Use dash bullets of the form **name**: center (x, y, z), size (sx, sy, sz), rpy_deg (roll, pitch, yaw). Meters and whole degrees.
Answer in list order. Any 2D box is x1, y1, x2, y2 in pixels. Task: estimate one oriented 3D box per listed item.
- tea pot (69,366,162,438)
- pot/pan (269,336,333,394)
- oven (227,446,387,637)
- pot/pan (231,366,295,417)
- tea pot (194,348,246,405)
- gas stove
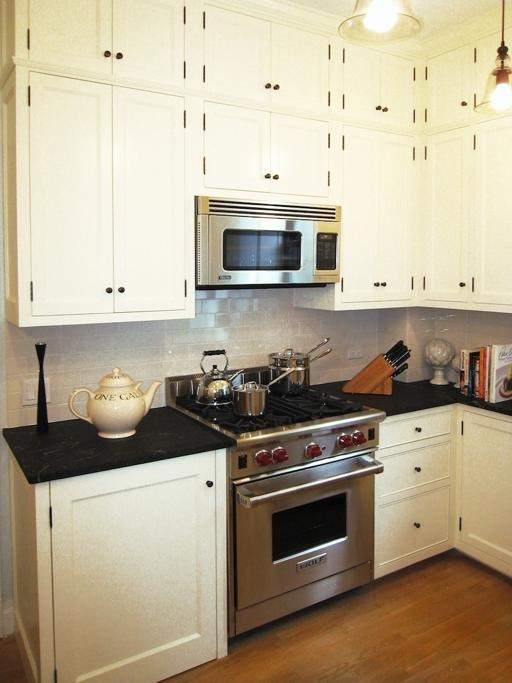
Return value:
- **tea pot**: center (-0.517, 0.197, 2.162), size (0.376, 0.282, 0.237), rpy_deg (-6, 8, -36)
- **pot/pan**: center (0.151, 0.108, 2.842), size (0.347, 0.288, 0.199), rpy_deg (7, 11, 44)
- **oven**: center (0.124, 0.789, 2.498), size (0.697, 0.631, 0.537), rpy_deg (-6, 5, -28)
- **pot/pan**: center (0.038, 0.224, 2.497), size (0.116, 0.149, 0.294), rpy_deg (8, 10, 33)
- **tea pot**: center (-0.190, 0.159, 2.674), size (0.258, 0.243, 0.172), rpy_deg (-1, 1, -41)
- **gas stove**: center (0.102, 0.370, 2.501), size (0.794, 0.271, 0.591), rpy_deg (-6, 12, -41)
